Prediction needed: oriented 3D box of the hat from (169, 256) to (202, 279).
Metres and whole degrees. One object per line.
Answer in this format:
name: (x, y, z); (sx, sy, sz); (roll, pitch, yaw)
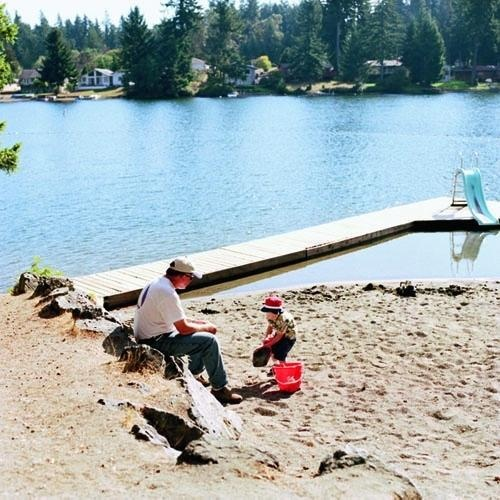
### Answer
hat: (-0.658, 0.200, 8.489); (0.337, 0.253, 0.269); (-11, 20, -30)

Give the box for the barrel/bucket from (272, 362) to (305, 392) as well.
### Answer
barrel/bucket: (0.419, 1.363, 9.255); (0.327, 0.343, 0.406); (0, 17, 3)

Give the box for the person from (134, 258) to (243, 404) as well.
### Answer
person: (-0.565, 0.694, 8.942); (1.338, 1.816, 1.012); (-4, 18, -12)
